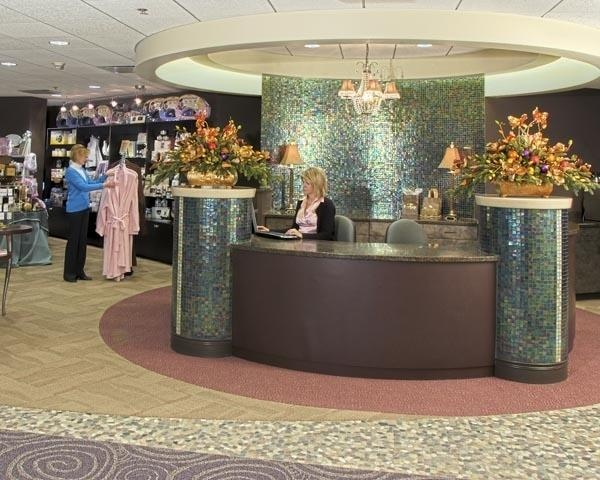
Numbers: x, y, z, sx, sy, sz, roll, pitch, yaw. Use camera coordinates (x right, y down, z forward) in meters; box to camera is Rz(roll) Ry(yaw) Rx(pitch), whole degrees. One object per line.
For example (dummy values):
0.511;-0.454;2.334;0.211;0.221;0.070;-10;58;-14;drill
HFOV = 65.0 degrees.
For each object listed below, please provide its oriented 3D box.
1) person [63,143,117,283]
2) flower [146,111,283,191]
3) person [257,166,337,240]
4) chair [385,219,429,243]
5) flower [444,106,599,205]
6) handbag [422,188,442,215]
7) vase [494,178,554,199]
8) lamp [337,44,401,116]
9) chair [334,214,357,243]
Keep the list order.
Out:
-3.260;-0.433;7.140;0.669;2.036;0.576;1;6;-1;person
-0.878;-0.759;4.334;1.053;0.559;0.857;4;-5;-32;flower
-0.056;-0.357;5.186;0.975;0.820;0.800;3;11;12;person
1.063;-0.087;4.752;0.301;0.320;0.304;-1;-4;8;chair
2.674;-1.053;5.579;1.990;1.082;1.196;0;9;2;flower
2.140;-0.622;7.609;0.296;0.459;0.594;3;7;18;handbag
1.794;-0.412;3.765;0.400;0.127;0.087;3;7;16;vase
0.985;-2.453;6.874;0.934;1.166;0.935;0;14;2;lamp
0.513;-0.126;5.071;0.200;0.256;0.377;-1;7;-19;chair
